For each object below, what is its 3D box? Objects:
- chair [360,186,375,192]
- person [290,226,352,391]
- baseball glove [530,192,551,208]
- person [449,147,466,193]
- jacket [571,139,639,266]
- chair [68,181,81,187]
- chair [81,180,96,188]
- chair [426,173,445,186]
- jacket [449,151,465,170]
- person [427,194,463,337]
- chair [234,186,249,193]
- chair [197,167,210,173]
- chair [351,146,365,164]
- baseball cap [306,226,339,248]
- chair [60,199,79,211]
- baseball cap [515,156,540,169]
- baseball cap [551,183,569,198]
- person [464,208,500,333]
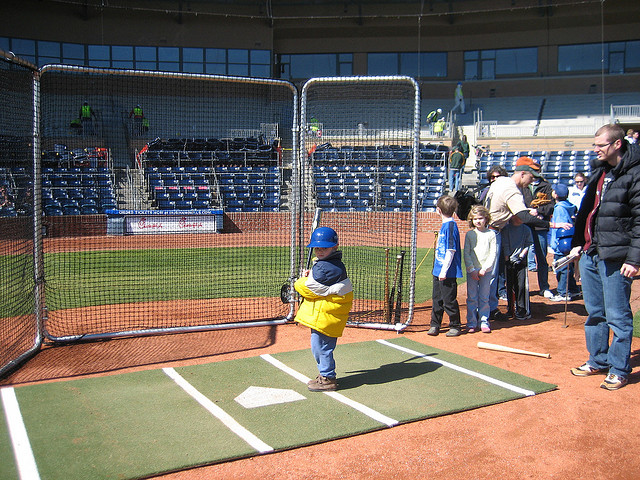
[{"bbox_3d":[1.399,-1.518,20.254,0.436,0.137,0.264,1,9,6],"label":"chair"},{"bbox_3d":[0.045,0.851,8.578,0.719,2.017,0.392,-2,9,-9],"label":"person"},{"bbox_3d":[3.739,-0.671,11.554,0.326,0.139,0.253,-33,22,-35],"label":"baseball glove"},{"bbox_3d":[4.129,-2.107,20.637,0.417,1.324,1.063,1,9,10],"label":"person"},{"bbox_3d":[3.573,-0.416,8.536,0.569,1.604,0.580,0,3,4],"label":"jacket"},{"bbox_3d":[-7.590,-1.709,21.099,0.560,0.190,0.105,6,11,36],"label":"chair"},{"bbox_3d":[-7.071,-1.684,20.808,0.507,0.220,0.120,9,7,10],"label":"chair"},{"bbox_3d":[3.608,-1.878,21.164,0.470,0.282,0.459,0,4,-6],"label":"chair"},{"bbox_3d":[4.078,-2.345,20.345,0.408,0.551,0.542,1,9,9],"label":"jacket"},{"bbox_3d":[1.908,0.395,10.305,0.513,2.076,0.640,1,9,11],"label":"person"},{"bbox_3d":[-2.628,-1.682,22.811,0.529,0.189,0.171,1,9,6],"label":"chair"},{"bbox_3d":[-3.930,-2.320,22.868,0.534,0.170,0.260,-8,12,-42],"label":"chair"},{"bbox_3d":[0.880,-1.926,15.828,0.290,0.389,0.457,0,-4,-1],"label":"chair"},{"bbox_3d":[0.069,-0.030,8.450,0.224,0.157,0.300,4,0,45],"label":"baseball cap"},{"bbox_3d":[-7.846,-1.096,21.209,0.483,0.345,0.217,1,-6,-2],"label":"chair"},{"bbox_3d":[3.323,-1.216,11.004,0.303,0.097,0.198,15,15,-31],"label":"baseball cap"},{"bbox_3d":[4.289,-0.903,12.208,0.221,0.297,0.173,-20,-18,-16],"label":"baseball cap"},{"bbox_3d":[2.479,0.452,10.520,0.468,1.871,0.574,4,10,24],"label":"person"}]
